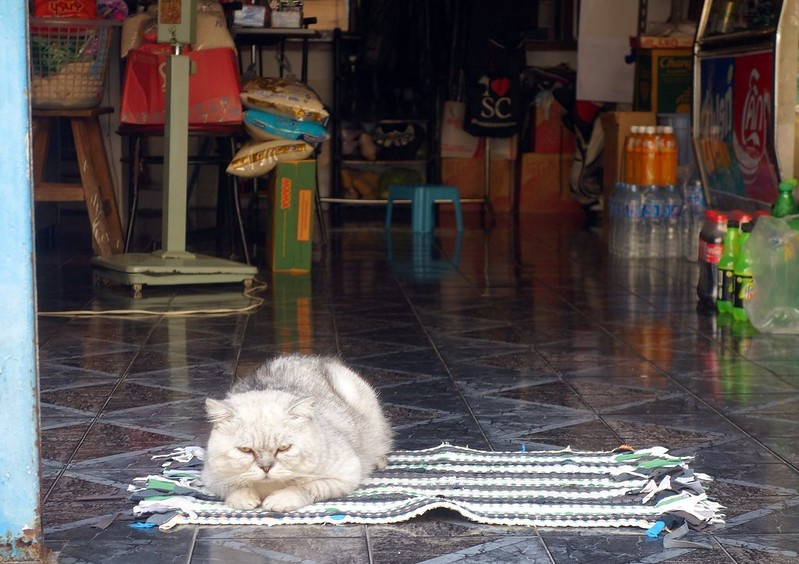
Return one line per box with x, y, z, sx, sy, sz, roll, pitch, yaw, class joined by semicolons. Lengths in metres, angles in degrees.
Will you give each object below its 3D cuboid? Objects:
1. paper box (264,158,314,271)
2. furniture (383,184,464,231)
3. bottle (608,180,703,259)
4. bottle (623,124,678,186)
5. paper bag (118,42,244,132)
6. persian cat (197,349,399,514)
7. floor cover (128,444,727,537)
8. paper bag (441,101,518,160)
-0.665;-0.422;6.173;0.340;0.613;0.813;1;3;-7;paper box
0.202;-0.651;8.552;0.719;0.296;0.616;2;9;1;furniture
1.661;-0.437;6.831;0.674;0.468;0.574;1;6;8;bottle
1.668;-0.846;6.738;0.326;0.386;0.289;1;14;7;bottle
-1.337;-1.198;6.279;0.719;0.318;0.611;0;5;1;paper bag
-0.364;0.508;3.169;0.557;0.257;0.735;-3;-1;4;persian cat
0.151;0.629;3.014;1.066;0.098;0.524;0;1;1;floor cover
0.646;-1.542;10.207;0.778;0.566;0.200;-1;12;4;paper bag
